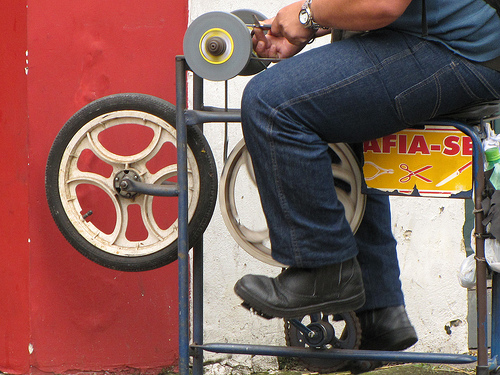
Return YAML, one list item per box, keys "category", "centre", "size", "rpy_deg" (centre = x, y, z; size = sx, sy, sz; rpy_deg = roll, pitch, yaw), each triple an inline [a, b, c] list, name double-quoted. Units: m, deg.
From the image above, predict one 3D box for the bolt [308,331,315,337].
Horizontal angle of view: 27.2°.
- category: "bolt"
  centre: [0.263, 0.627, 4.401]
  size: [0.029, 0.030, 0.010]
  rpy_deg: [-14, -17, 4]

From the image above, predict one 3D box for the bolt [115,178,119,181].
- category: "bolt"
  centre: [-0.585, -0.034, 4.554]
  size: [0.016, 0.011, 0.003]
  rpy_deg: [-5, -10, 0]

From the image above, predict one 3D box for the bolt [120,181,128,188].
- category: "bolt"
  centre: [-0.544, -0.012, 4.488]
  size: [0.029, 0.029, 0.007]
  rpy_deg: [1, -1, 14]

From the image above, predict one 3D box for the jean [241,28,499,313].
- category: "jean"
  centre: [0.584, -0.102, 4.835]
  size: [1.185, 1.452, 1.060]
  rpy_deg: [2, 0, 15]
